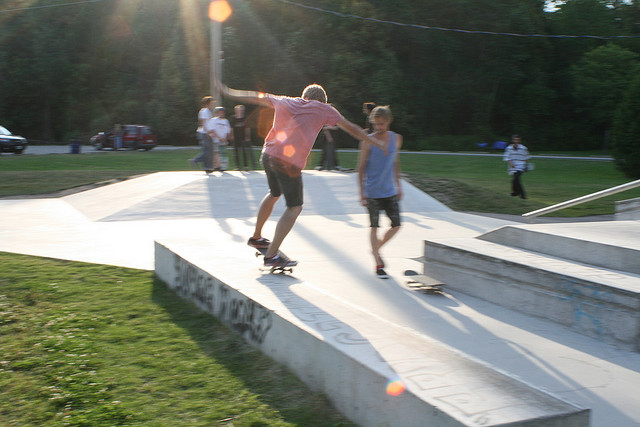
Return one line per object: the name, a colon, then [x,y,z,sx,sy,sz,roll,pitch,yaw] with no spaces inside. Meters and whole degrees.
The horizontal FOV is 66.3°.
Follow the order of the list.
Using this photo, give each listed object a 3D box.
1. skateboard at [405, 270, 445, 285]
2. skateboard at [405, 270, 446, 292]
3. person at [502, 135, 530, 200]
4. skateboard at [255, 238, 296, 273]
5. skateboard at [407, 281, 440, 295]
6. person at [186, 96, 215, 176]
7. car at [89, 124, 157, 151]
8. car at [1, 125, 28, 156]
skateboard: [1.216,0.702,5.687,0.173,0.025,0.378,-6,11,-32]
skateboard: [1.212,0.768,5.638,0.324,0.062,0.320,-4,13,-34]
person: [5.744,-1.381,14.323,0.693,1.850,1.483,5,9,20]
skateboard: [-0.529,0.522,5.677,0.412,0.340,0.746,-1,7,-14]
skateboard: [1.178,0.846,5.577,0.216,0.042,0.199,-1,3,-34]
person: [-3.280,-2.183,13.561,0.630,2.146,1.121,0,9,-12]
car: [-12.437,-4.653,30.237,4.581,1.027,2.078,6,12,19]
car: [-16.232,-3.763,25.751,1.140,1.243,1.326,-3,9,-28]
